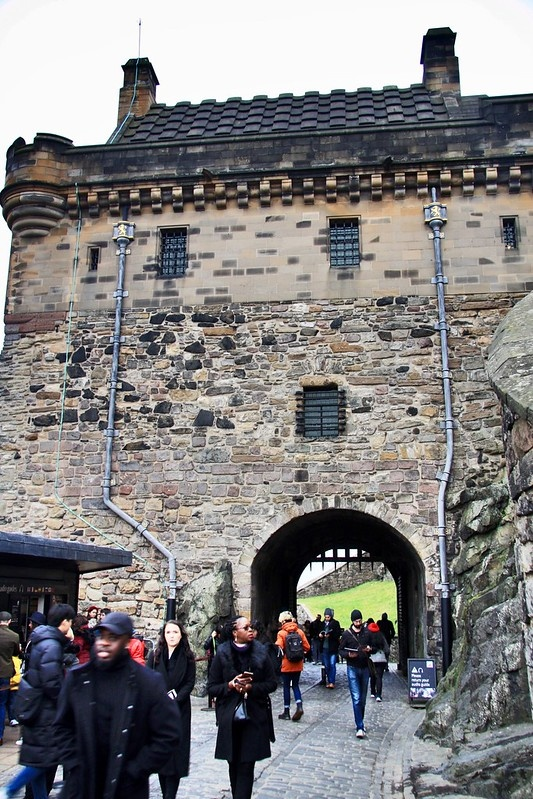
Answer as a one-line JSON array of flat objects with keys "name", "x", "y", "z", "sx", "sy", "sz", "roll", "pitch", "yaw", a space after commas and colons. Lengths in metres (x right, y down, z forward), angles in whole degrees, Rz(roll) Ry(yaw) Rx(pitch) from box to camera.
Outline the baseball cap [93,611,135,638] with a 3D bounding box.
[{"name": "baseball cap", "x": -0.655, "y": 0.940, "z": 3.254, "sx": 0.105, "sy": 0.078, "sz": 0.148, "roll": -8, "pitch": -35, "yaw": 24}]

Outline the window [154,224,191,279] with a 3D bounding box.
[{"name": "window", "x": -1.754, "y": -2.776, "z": 14.238, "sx": 0.552, "sy": 0.078, "sz": 1.015, "roll": -1, "pitch": -56, "yaw": -10}]

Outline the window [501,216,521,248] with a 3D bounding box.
[{"name": "window", "x": 4.276, "y": -2.893, "z": 13.384, "sx": 0.311, "sy": 0.617, "sz": 0.215, "roll": -6, "pitch": -20, "yaw": 17}]

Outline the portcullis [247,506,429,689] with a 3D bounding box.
[{"name": "portcullis", "x": 1.333, "y": 3.749, "z": 13.999, "sx": 3.312, "sy": 3.117, "sz": 2.544, "roll": 5, "pitch": -17, "yaw": 8}]

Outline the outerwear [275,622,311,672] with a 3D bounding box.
[{"name": "outerwear", "x": 0.321, "y": 3.151, "z": 9.695, "sx": 0.452, "sy": 0.596, "sz": 0.242, "roll": -1, "pitch": 7, "yaw": -7}]

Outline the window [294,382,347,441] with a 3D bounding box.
[{"name": "window", "x": 0.930, "y": 0.238, "z": 12.943, "sx": 0.800, "sy": 0.869, "sz": 0.086, "roll": -2, "pitch": -23, "yaw": 7}]

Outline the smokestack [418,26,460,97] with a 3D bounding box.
[{"name": "smokestack", "x": 3.592, "y": -7.004, "z": 15.927, "sx": 0.924, "sy": 1.317, "sz": 0.957, "roll": -19, "pitch": 25, "yaw": -32}]
